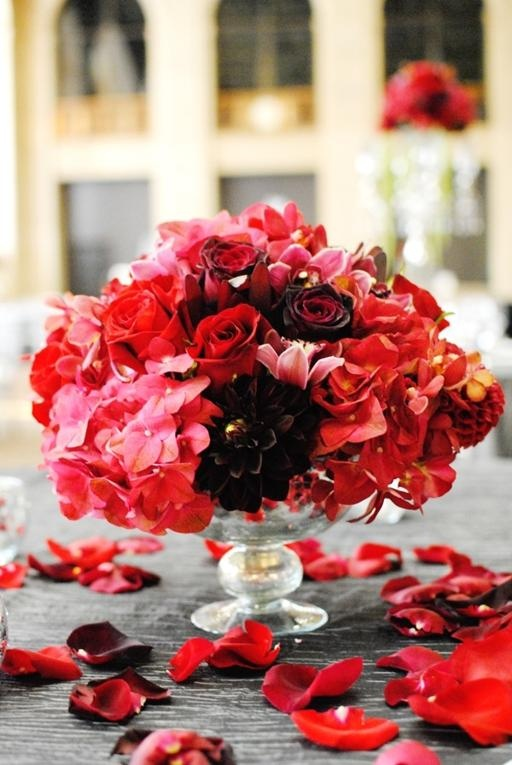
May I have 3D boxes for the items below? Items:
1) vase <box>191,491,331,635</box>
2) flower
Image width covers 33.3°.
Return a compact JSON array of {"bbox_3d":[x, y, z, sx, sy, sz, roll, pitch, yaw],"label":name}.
[{"bbox_3d":[0.003,0.149,0.665,0.108,0.065,0.094,-1,-6,11],"label":"vase"},{"bbox_3d":[-0.013,0.004,0.619,0.289,0.173,0.242,0,-4,-17],"label":"flower"}]
